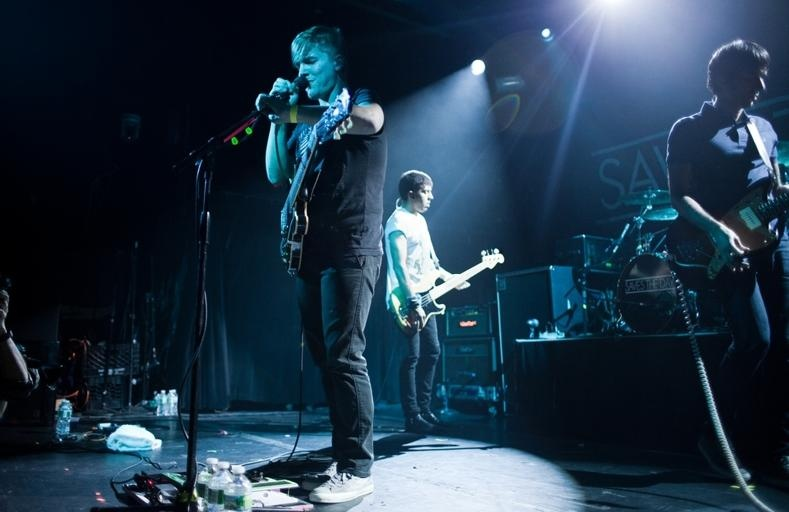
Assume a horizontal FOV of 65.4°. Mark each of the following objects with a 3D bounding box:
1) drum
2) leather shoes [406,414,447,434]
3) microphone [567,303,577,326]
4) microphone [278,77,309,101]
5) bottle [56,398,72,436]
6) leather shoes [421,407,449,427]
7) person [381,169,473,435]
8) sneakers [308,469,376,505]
[{"bbox_3d":[2.384,0.368,5.763,0.296,0.768,0.634,6,-13,-35],"label":"drum"},{"bbox_3d":[0.302,1.770,6.420,0.468,0.200,0.160,0,-10,-8],"label":"leather shoes"},{"bbox_3d":[2.132,0.711,7.396,0.206,0.255,0.075,9,-18,-33],"label":"microphone"},{"bbox_3d":[-0.773,-1.254,4.726,0.274,0.161,0.106,-41,-16,-51],"label":"microphone"},{"bbox_3d":[-3.438,1.697,6.396,0.140,0.407,0.353,7,-18,-28],"label":"bottle"},{"bbox_3d":[0.526,1.770,6.670,0.495,0.191,0.173,6,-13,-19],"label":"leather shoes"},{"bbox_3d":[0.221,0.454,6.470,0.661,2.719,0.936,-4,-16,8],"label":"person"},{"bbox_3d":[-0.381,1.674,4.403,0.434,0.170,0.176,8,-16,-26],"label":"sneakers"}]
